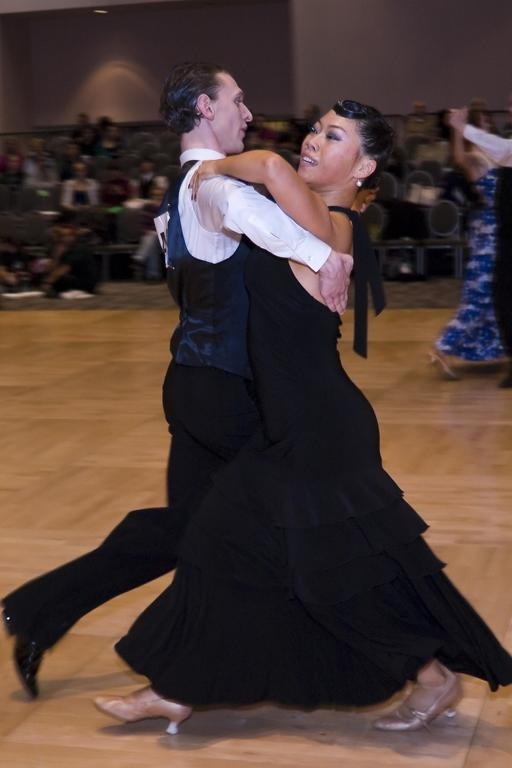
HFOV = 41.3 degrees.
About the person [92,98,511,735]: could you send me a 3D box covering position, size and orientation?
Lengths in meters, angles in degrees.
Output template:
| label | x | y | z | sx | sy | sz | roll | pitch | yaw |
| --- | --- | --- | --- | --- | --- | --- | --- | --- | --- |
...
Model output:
| label | x | y | z | sx | sy | sz | roll | pitch | yaw |
| --- | --- | --- | --- | --- | --- | --- | --- | --- | --- |
| person | 0.070 | 0.096 | 1.184 | 0.700 | 1.156 | 0.322 | -5 | 9 | -17 |
